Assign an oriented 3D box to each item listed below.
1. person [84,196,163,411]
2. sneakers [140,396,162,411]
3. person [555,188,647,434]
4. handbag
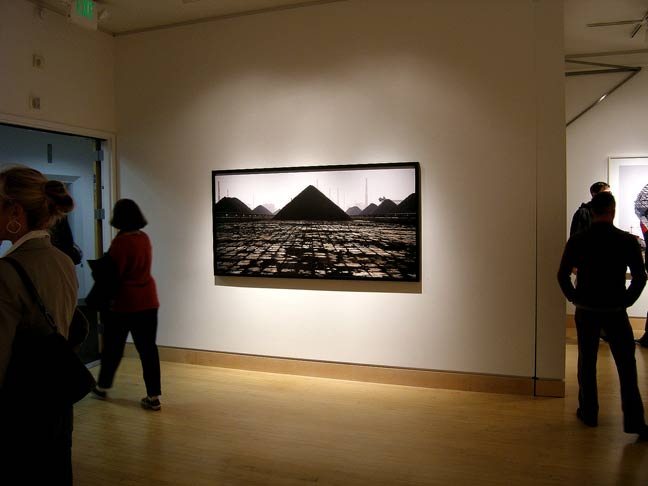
[{"bbox_3d":[-2.057,0.591,4.746,0.669,2.181,0.648,1,11,-20],"label":"person"},{"bbox_3d":[-1.765,1.641,4.656,0.247,0.129,0.100,8,7,44],"label":"sneakers"},{"bbox_3d":[2.514,0.752,4.133,0.752,1.869,0.322,3,7,31],"label":"person"},{"bbox_3d":[-1.498,0.492,2.451,0.398,0.821,0.174,-2,6,-12],"label":"handbag"}]
